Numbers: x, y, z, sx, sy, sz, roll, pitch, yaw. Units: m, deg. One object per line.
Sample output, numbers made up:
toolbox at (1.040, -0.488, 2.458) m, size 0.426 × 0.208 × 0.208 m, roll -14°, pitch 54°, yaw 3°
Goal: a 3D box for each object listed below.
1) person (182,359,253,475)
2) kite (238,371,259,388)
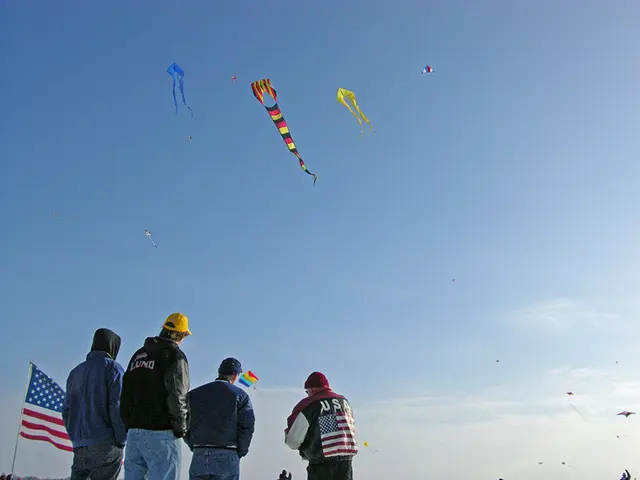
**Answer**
person at (-1.186, 2.078, 5.734) m, size 0.800 × 1.276 × 0.277 m, roll 10°, pitch -26°, yaw -12°
kite at (-1.398, 2.738, 9.336) m, size 0.252 × 0.345 × 0.781 m, roll 9°, pitch -30°, yaw -10°
